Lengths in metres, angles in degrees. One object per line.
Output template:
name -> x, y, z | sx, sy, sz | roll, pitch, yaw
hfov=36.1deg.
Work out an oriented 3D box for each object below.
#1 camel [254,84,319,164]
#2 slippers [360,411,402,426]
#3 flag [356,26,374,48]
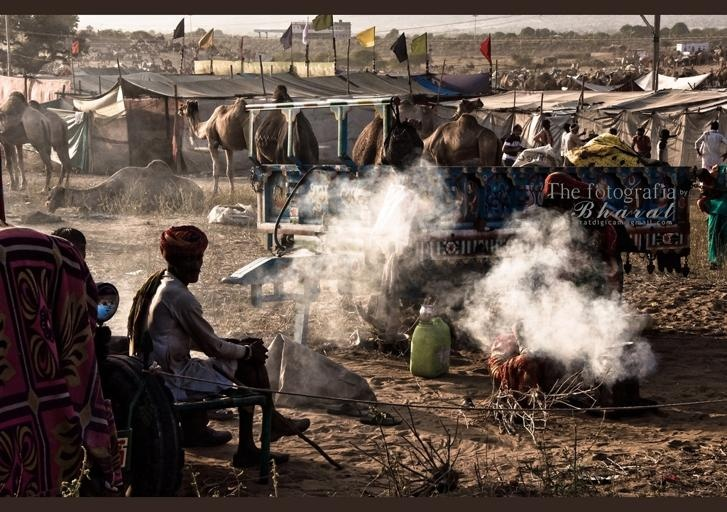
camel -> -1.202, -2.107, 17.463 | 0.856, 1.537, 3.035 | -1, 1, -7
slippers -> 0.185, 1.777, 12.250 | 0.385, 0.115, 0.182 | 0, 7, 12
flag -> 0.059, -4.323, 22.026 | 0.316, 0.403, 0.839 | -1, 1, -3
